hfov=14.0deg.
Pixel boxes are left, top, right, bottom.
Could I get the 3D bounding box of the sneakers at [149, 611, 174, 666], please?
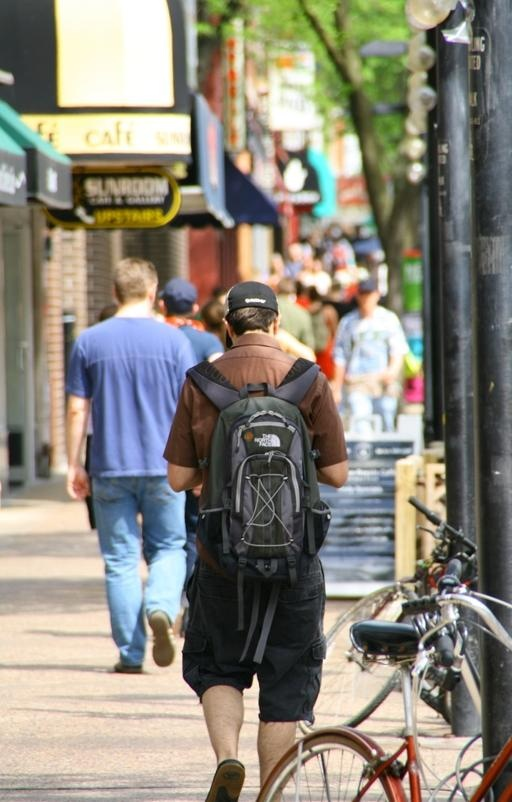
[{"bbox_3d":[-0.427,1.056,9.184,0.081,0.272,0.099,-2,4,12],"label":"sneakers"}]
